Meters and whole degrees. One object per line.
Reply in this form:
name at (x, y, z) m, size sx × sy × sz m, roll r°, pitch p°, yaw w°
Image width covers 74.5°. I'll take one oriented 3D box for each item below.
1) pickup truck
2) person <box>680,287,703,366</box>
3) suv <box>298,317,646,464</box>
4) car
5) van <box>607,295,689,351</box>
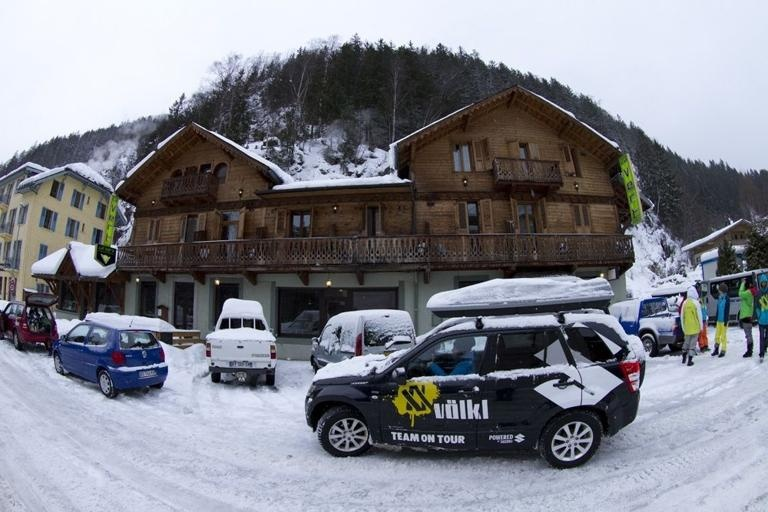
pickup truck at (-5.539, 3.387, 19.493) m, size 2.431 × 3.200 × 2.572 m, roll 3°, pitch -9°, yaw -23°
person at (11.523, 2.587, 18.924) m, size 0.789 × 2.884 × 1.403 m, roll -7°, pitch -10°, yaw 32°
suv at (2.337, 3.685, 14.908) m, size 8.133 × 3.748 × 3.919 m, roll 2°, pitch -8°, yaw 3°
car at (-9.665, 3.575, 17.785) m, size 3.571 × 2.628 × 1.175 m, roll -4°, pitch -9°, yaw 20°
van at (11.918, 2.935, 22.251) m, size 1.927 × 2.008 × 3.562 m, roll 4°, pitch 1°, yaw -29°
